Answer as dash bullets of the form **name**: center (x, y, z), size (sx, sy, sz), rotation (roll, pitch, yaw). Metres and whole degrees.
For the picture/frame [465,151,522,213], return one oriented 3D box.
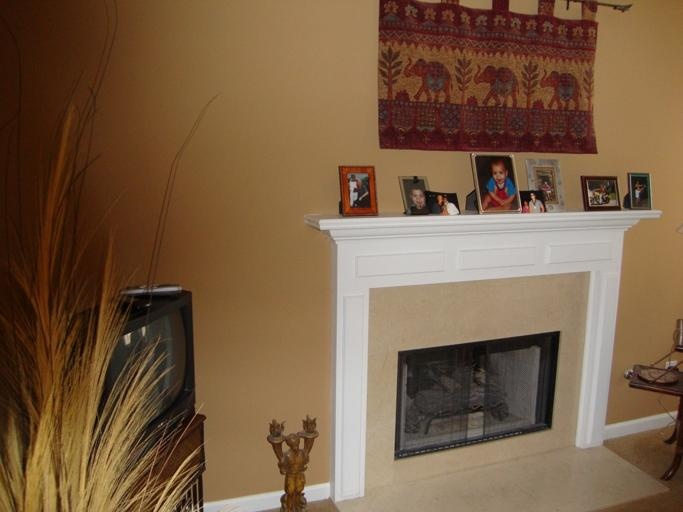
- **picture/frame**: center (0.869, -0.422, 3.369), size (0.311, 0.396, 0.029), rotation (-3, -11, -26)

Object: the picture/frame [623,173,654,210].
- **picture/frame**: center (1.831, -0.402, 3.629), size (0.215, 0.338, 0.033), rotation (-1, 3, -9)

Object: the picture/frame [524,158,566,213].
- **picture/frame**: center (1.208, -0.420, 3.512), size (0.290, 0.468, 0.031), rotation (0, -5, -20)

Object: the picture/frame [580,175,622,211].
- **picture/frame**: center (1.578, -0.385, 3.576), size (0.203, 0.196, 0.014), rotation (-2, 1, -23)

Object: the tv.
- **tv**: center (-0.838, 0.588, 2.723), size (0.604, 0.655, 0.374), rotation (-18, -22, -1)

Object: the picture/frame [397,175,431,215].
- **picture/frame**: center (0.409, -0.347, 3.289), size (0.201, 0.318, 0.020), rotation (0, -12, -17)

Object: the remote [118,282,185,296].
- **remote**: center (-0.866, 0.155, 2.708), size (0.195, 0.054, 0.122), rotation (1, 9, 2)

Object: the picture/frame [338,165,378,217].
- **picture/frame**: center (0.091, -0.348, 3.149), size (0.229, 0.329, 0.030), rotation (-2, -2, -22)
